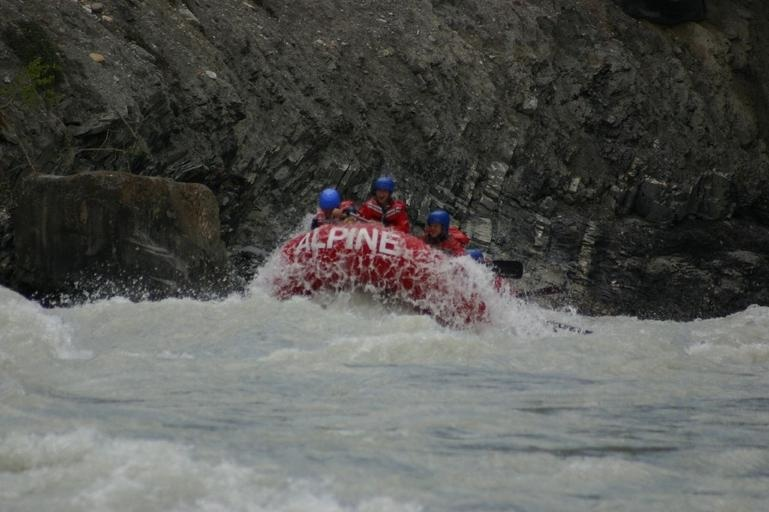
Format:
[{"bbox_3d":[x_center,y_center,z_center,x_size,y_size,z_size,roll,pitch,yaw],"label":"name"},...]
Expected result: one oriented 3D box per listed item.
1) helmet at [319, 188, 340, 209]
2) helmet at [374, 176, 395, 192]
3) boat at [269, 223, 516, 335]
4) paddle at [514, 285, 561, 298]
[{"bbox_3d":[-1.060,-1.077,21.608,0.378,0.401,0.248,5,6,0],"label":"helmet"},{"bbox_3d":[-0.005,-1.407,22.404,0.331,0.264,0.356,19,-3,12],"label":"helmet"},{"bbox_3d":[0.119,0.323,20.322,2.817,0.811,2.209,13,6,-24],"label":"boat"},{"bbox_3d":[3.351,0.735,23.714,0.792,0.235,0.177,2,7,-22],"label":"paddle"}]
